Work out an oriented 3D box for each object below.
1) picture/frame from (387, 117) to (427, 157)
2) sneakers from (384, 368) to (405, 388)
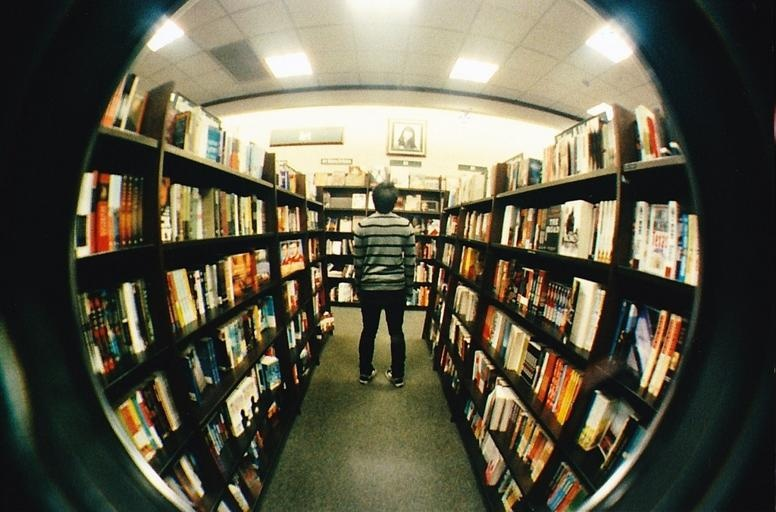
[{"bbox_3d":[0.204,-1.276,5.737,0.438,0.378,0.060,1,0,4],"label":"picture/frame"},{"bbox_3d":[0.058,0.863,3.869,0.063,0.168,0.075,2,-65,-17],"label":"sneakers"}]
